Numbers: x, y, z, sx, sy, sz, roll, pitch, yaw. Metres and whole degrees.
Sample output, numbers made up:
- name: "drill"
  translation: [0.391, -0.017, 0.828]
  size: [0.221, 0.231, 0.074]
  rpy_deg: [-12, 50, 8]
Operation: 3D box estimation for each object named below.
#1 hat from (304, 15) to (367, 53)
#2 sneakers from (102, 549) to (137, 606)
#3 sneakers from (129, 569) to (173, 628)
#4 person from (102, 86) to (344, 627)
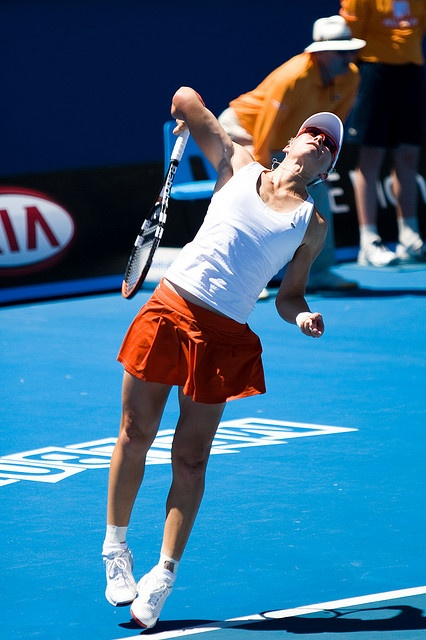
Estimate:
- name: "hat"
  translation: [1.096, -2.571, 5.933]
  size: [0.555, 0.233, 0.509]
  rpy_deg: [-6, 13, -5]
- name: "sneakers"
  translation: [-0.266, 0.729, 1.834]
  size: [0.075, 0.074, 0.191]
  rpy_deg: [-4, 3, -9]
- name: "sneakers"
  translation: [-0.155, 0.719, 1.738]
  size: [0.072, 0.089, 0.211]
  rpy_deg: [40, 1, -5]
- name: "person"
  translation: [0.035, 0.081, 1.972]
  size: [0.824, 1.556, 0.532]
  rpy_deg: [-4, 9, -28]
